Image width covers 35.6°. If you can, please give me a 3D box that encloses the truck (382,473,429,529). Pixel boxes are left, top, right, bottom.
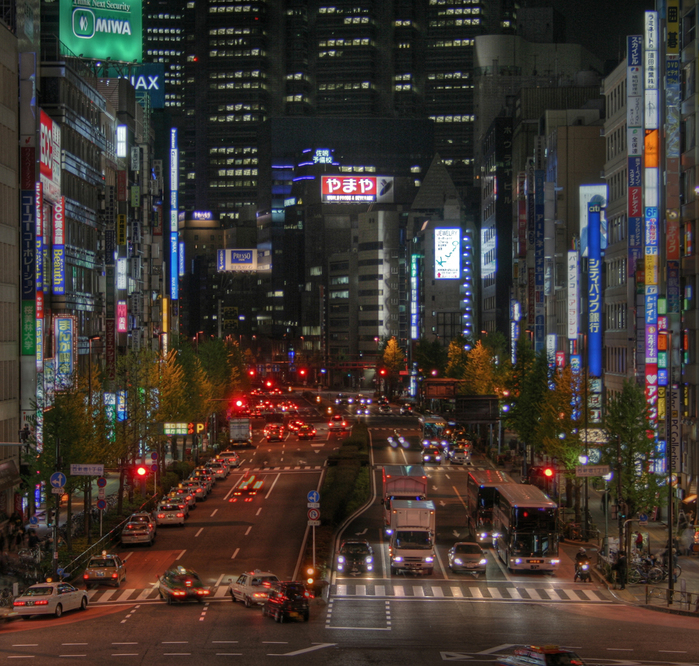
[{"bbox_3d":[3.072,9.220,60.295,2.724,3.343,5.173,0,-2,-1],"label":"truck"}]

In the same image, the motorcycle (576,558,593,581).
[{"bbox_3d":[11.151,11.170,51.600,0.685,1.007,1.425,-6,-8,41],"label":"motorcycle"}]

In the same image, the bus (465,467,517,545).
[{"bbox_3d":[8.029,9.772,61.887,2.579,3.904,2.502,-6,-4,4],"label":"bus"}]

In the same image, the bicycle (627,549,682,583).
[{"bbox_3d":[14.519,11.166,51.928,2.134,1.522,1.462,2,-3,1],"label":"bicycle"}]

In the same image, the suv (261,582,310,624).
[{"bbox_3d":[-2.435,10.275,41.855,1.259,1.342,1.811,5,-9,-45],"label":"suv"}]

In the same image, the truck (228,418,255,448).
[{"bbox_3d":[-12.206,11.020,122.200,1.839,2.272,3.614,0,5,-1],"label":"truck"}]

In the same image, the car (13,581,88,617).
[{"bbox_3d":[-11.766,10.509,43.224,1.821,1.196,3.229,0,-3,3],"label":"car"}]

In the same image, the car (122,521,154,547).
[{"bbox_3d":[-11.700,11.032,60.197,1.625,1.280,1.190,0,-6,-11],"label":"car"}]

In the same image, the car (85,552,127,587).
[{"bbox_3d":[-11.067,10.719,49.363,0.947,0.876,1.757,0,14,-2],"label":"car"}]

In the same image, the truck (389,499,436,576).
[{"bbox_3d":[3.194,10.135,55.541,2.378,3.575,5.845,0,1,6],"label":"truck"}]
